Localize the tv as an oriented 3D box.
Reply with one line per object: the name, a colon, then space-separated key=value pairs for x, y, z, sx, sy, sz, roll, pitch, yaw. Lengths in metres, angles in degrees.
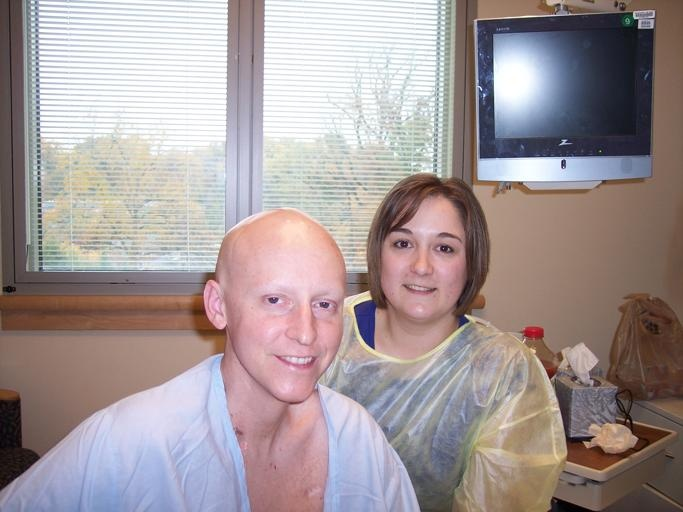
tv: x=0.804 y=-0.574 z=2.155 sx=0.577 sy=0.621 sz=0.202 roll=-1 pitch=1 yaw=0
